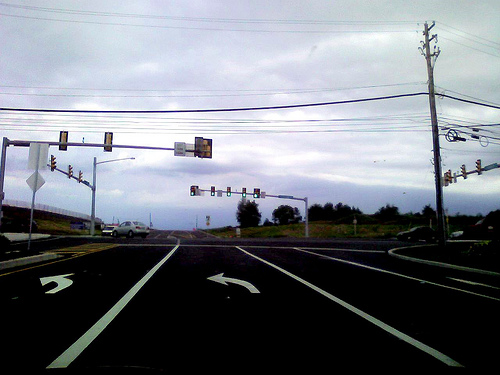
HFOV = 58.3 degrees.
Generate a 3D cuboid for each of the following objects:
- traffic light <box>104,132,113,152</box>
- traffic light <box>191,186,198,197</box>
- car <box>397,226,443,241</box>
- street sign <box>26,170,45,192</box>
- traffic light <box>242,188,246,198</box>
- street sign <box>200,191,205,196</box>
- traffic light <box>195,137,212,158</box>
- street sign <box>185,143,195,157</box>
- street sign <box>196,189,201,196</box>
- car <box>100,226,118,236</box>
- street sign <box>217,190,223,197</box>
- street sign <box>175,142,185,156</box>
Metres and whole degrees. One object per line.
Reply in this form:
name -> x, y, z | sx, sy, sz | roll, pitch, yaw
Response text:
traffic light -> -8.842, -2.831, 28.011 | 0.399, 1.183, 1.063 | 0, -2, -20
traffic light -> -6.107, 0.384, 48.982 | 1.063, 1.137, 0.361 | 0, 1, -12
car -> 14.325, 3.995, 38.030 | 2.774, 1.108, 1.234 | -2, -3, 26
street sign -> -8.357, -0.194, 17.427 | 0.793, 1.064, 0.109 | -5, -13, -11
traffic light -> -0.796, 0.683, 56.198 | 0.320, 0.926, 1.081 | -1, -2, -7
street sign -> -5.788, 0.694, 54.044 | 0.586, 0.617, 0.316 | 0, 2, 0
traffic light -> -2.951, -2.506, 28.545 | 1.002, 1.268, 0.346 | -1, -2, 7
street sign -> -3.827, -2.378, 28.556 | 0.607, 0.728, 0.280 | 0, -2, -16
street sign -> -6.434, 0.640, 56.274 | 0.570, 0.751, 1.381 | 0, -3, -9
car -> -14.167, 4.347, 44.363 | 1.001, 0.875, 1.710 | 1, -9, -12
street sign -> -2.860, 0.581, 41.778 | 0.665, 0.675, 0.691 | 0, 3, 1
street sign -> -4.477, -2.438, 28.670 | 0.585, 0.741, 0.481 | 0, -2, -11
